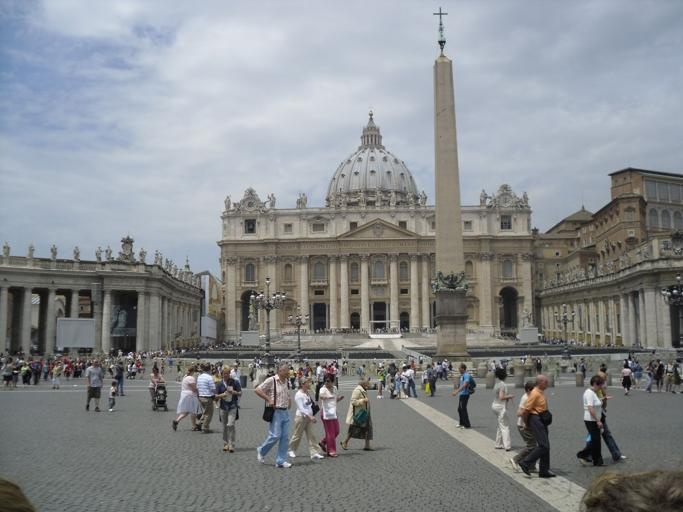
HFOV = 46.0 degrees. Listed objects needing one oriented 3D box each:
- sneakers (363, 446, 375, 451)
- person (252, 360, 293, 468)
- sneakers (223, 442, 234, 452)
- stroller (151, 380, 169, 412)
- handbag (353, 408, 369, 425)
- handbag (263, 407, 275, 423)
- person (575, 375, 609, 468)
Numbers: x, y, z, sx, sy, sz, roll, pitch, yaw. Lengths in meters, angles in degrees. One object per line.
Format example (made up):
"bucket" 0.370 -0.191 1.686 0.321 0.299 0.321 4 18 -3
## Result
"sneakers" 0.626 4.449 18.653 0.253 0.166 0.095 -1 -4 -14
"person" -1.455 3.383 17.304 0.770 2.200 1.073 1 -9 -5
"sneakers" -2.598 4.418 18.511 0.261 0.172 0.318 2 -10 -10
"stroller" -6.180 4.759 27.273 0.475 0.920 0.494 5 -10 -24
"handbag" 0.440 3.682 18.482 0.359 0.344 0.167 -3 -18 5
"handbag" -1.556 3.330 16.945 0.208 0.338 0.355 4 -10 -20
"person" 5.251 3.445 16.992 0.521 1.864 1.581 -2 -10 17
